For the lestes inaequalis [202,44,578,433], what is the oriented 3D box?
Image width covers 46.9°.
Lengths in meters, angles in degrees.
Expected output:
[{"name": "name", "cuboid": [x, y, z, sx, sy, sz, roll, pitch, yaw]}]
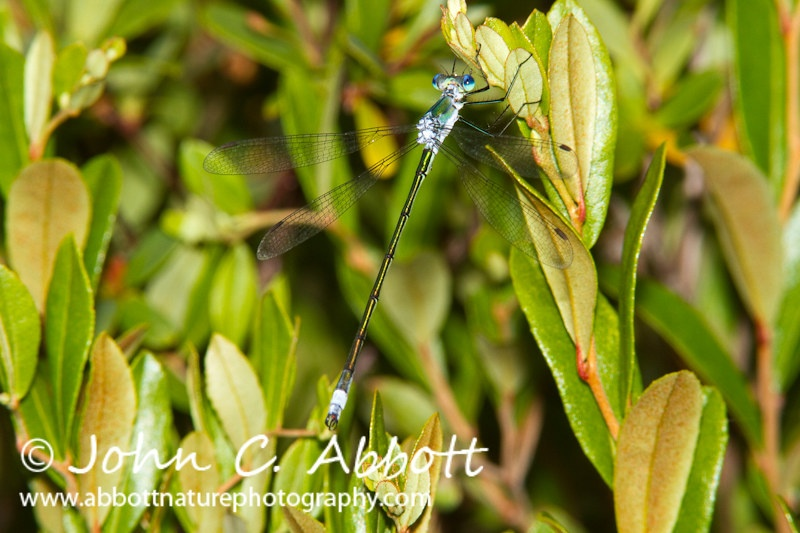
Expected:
[{"name": "lestes inaequalis", "cuboid": [-0.012, -0.034, 1.342, 0.403, 0.598, 0.224, 15, -3, 30]}]
